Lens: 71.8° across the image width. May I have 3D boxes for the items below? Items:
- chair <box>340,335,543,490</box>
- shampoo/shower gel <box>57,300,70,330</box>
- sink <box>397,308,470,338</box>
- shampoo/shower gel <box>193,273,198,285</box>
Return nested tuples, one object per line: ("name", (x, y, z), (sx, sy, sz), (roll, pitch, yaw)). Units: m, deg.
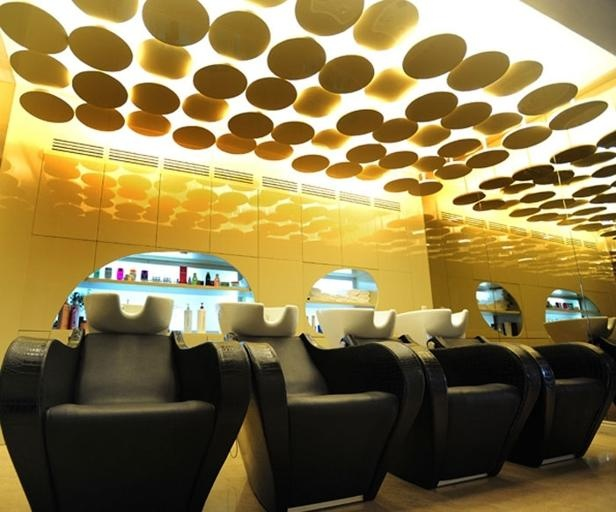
("chair", (0.750, 0.950, 2.666), (0.881, 0.761, 0.967), (10, -32, -25))
("shampoo/shower gel", (-2.463, 0.607, 4.273), (0.085, 0.214, 0.229), (1, -28, -17))
("sink", (1.206, 0.662, 4.281), (0.405, 0.241, 0.500), (7, -13, -16))
("shampoo/shower gel", (-1.365, 0.283, 5.121), (0.064, 0.152, 0.061), (3, -31, -15))
